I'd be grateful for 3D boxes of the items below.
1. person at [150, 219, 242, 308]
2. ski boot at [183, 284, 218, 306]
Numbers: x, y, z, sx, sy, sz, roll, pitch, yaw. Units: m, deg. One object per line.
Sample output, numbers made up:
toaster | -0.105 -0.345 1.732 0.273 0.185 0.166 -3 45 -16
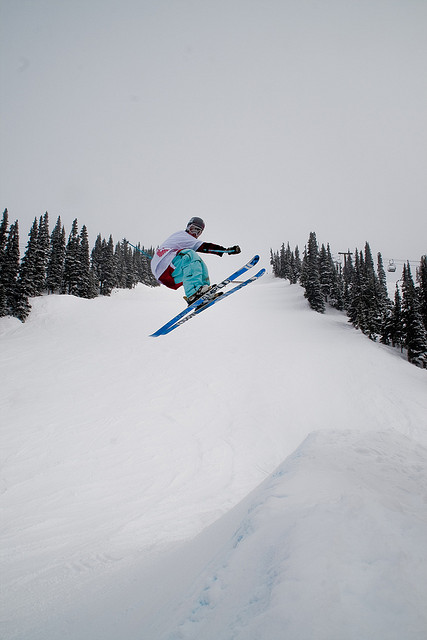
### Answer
person | -0.325 -1.002 8.751 1.498 1.724 0.832 -8 -19 -1
ski boot | -0.202 -0.407 8.403 0.626 0.232 0.204 -33 -18 9
